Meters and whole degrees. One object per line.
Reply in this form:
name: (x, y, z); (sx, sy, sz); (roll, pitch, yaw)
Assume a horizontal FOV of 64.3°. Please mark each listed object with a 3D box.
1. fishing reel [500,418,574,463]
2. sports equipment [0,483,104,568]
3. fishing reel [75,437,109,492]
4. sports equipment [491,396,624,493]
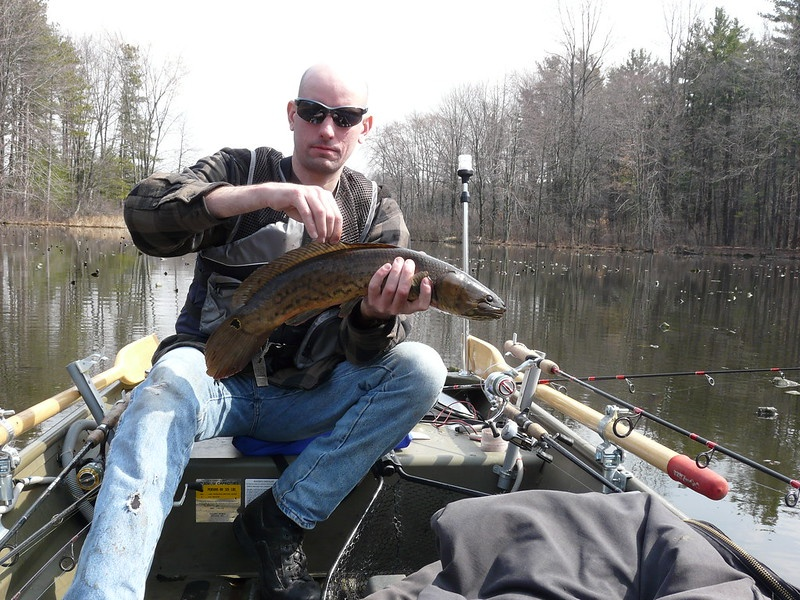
fishing reel: (0.655, 0.653, 3.102); (0.334, 0.101, 0.186); (29, 27, -25)
sports equipment: (-1.519, 1.003, 2.761); (0.014, 0.522, 0.153); (49, -1, 34)
fishing reel: (-1.463, 0.789, 3.048); (0.159, 0.126, 0.268); (26, 11, -37)
sports equipment: (0.752, 0.730, 3.126); (0.782, 0.135, 0.100); (30, -27, 27)
